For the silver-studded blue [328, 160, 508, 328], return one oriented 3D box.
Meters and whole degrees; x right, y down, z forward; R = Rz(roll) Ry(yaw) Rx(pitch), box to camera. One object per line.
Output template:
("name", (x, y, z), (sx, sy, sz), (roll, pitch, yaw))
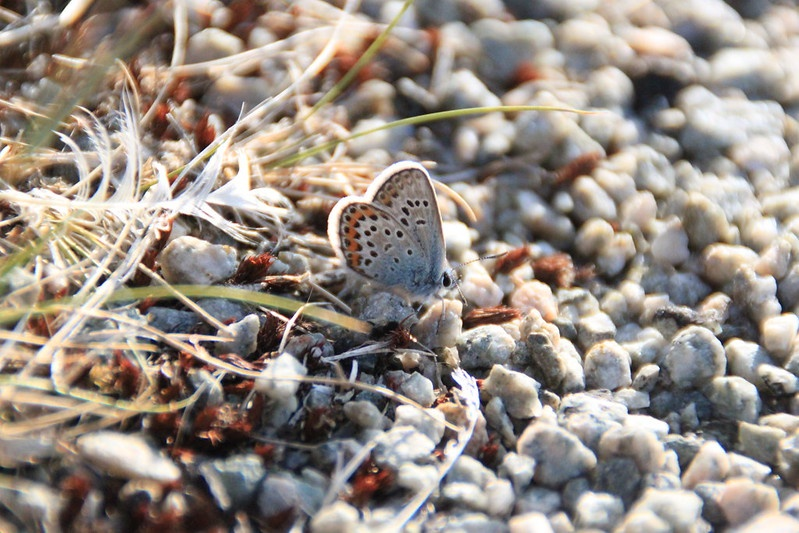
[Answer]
("silver-studded blue", (-0.030, -0.102, 3.934), (0.548, 0.404, 0.643), (-24, 82, -6))
